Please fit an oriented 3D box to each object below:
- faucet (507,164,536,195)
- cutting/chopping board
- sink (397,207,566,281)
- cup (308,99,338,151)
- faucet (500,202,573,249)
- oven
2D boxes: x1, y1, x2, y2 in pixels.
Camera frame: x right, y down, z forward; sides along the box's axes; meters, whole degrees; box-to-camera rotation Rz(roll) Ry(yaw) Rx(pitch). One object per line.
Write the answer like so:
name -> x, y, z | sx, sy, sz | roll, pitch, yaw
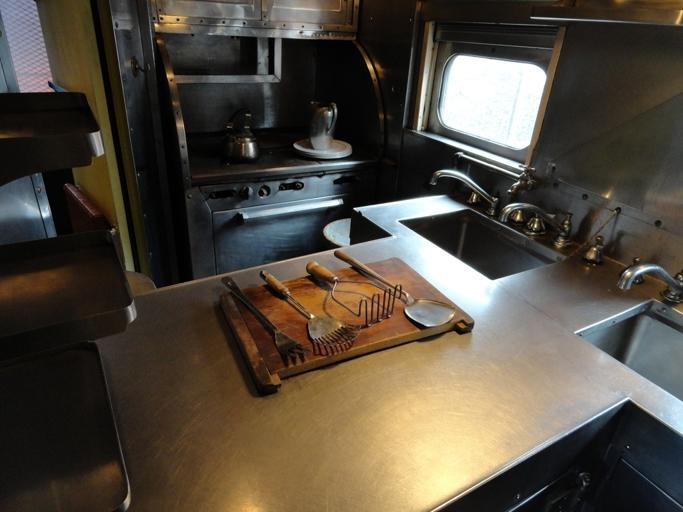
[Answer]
faucet -> 0.779, -0.312, 1.973 | 0.099, 0.140, 0.132 | 11, 28, 20
cutting/chopping board -> 0.005, 0.154, 1.380 | 0.684, 0.140, 0.394 | -10, 28, -21
sink -> 0.562, -0.192, 1.939 | 0.323, 0.165, 0.534 | -14, 39, -25
cup -> -0.124, -0.822, 2.873 | 0.162, 0.288, 0.176 | 0, 26, 0
faucet -> 0.796, -0.135, 1.869 | 0.283, 0.180, 0.108 | 3, 36, 17
oven -> -0.424, -0.352, 3.082 | 0.933, 0.882, 0.626 | -13, 48, -25
